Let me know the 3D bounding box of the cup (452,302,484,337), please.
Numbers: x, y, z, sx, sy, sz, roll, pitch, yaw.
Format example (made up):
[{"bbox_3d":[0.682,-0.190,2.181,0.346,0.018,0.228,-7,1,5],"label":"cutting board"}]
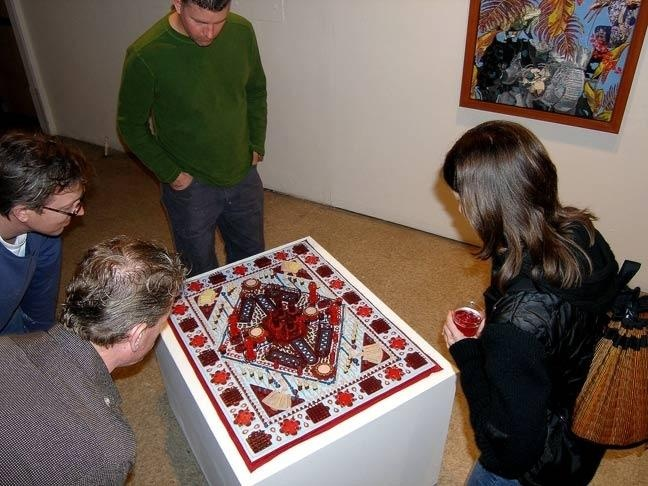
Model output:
[{"bbox_3d":[0.641,0.352,2.300,0.127,0.110,0.149,16,46,-10],"label":"cup"}]
